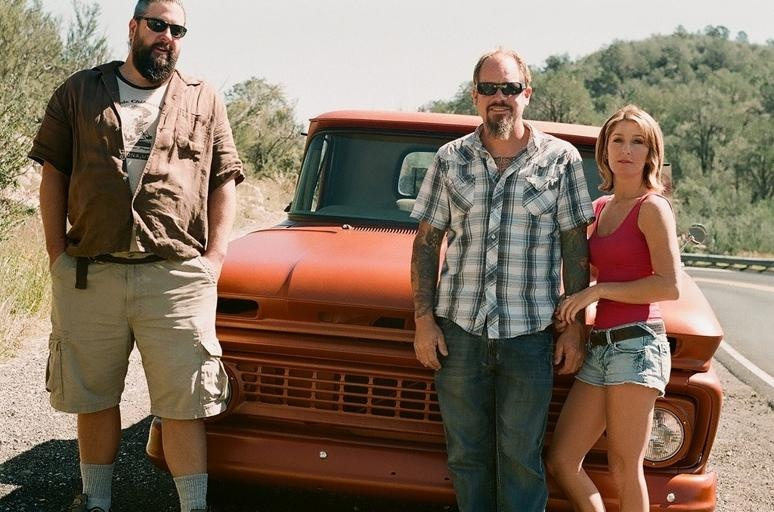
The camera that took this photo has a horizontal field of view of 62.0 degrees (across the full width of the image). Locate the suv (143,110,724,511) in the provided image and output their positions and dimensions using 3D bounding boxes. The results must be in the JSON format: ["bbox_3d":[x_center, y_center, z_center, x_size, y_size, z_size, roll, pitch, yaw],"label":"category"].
[{"bbox_3d":[0.337,0.000,5.974,2.530,2.094,4.319,1,4,6],"label":"suv"}]
